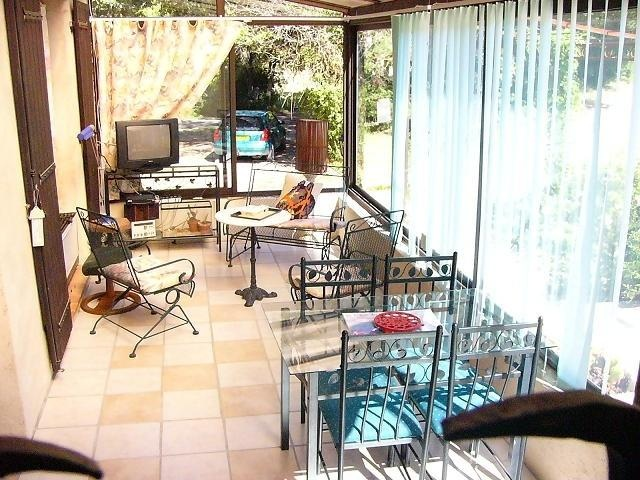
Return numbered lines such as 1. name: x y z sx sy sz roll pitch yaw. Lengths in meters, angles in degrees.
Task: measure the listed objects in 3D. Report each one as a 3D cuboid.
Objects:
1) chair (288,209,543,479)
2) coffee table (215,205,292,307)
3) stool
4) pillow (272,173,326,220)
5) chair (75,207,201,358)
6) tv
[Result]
1. chair: 0.417 0.691 3.437 1.146 0.964 1.748 -2 20 -5
2. coffee table: -0.753 0.206 5.506 0.781 0.856 0.758 -3 4 -40
3. stool: -2.150 0.399 5.073 0.628 0.699 0.625 2 12 -20
4. pillow: -0.282 -0.567 6.533 0.544 0.637 0.205 28 6 18
5. chair: -1.711 0.336 4.692 1.094 1.258 1.095 3 12 -3
6. tv: -2.380 -1.312 6.614 0.815 0.676 0.470 -15 31 -37
